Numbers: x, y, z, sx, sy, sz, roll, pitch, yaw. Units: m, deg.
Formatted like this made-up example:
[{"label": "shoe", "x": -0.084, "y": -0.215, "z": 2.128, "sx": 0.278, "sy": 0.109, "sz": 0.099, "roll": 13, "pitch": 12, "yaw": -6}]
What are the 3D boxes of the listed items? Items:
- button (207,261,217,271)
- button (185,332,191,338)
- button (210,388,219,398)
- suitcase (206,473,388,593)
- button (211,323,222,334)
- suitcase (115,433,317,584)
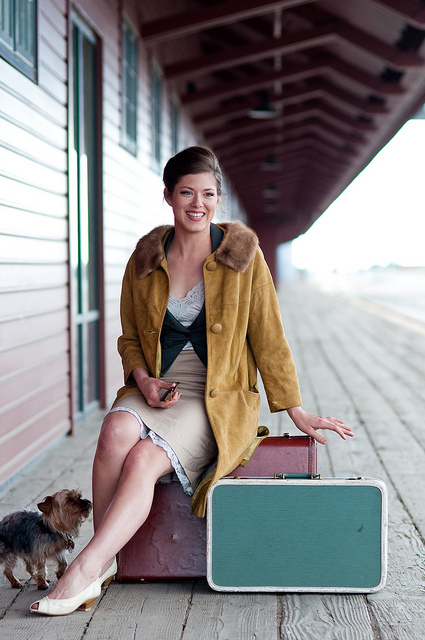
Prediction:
[{"label": "button", "x": -0.002, "y": -0.163, "z": 1.719, "sx": 0.031, "sy": 0.029, "sz": 0.007, "roll": 5, "pitch": -4, "yaw": -1}, {"label": "button", "x": -0.074, "y": 0.047, "z": 1.701, "sx": 0.015, "sy": 0.013, "sz": 0.004, "roll": 8, "pitch": 17, "yaw": 18}, {"label": "button", "x": 0.007, "y": 0.213, "z": 1.633, "sx": 0.006, "sy": 0.023, "sz": 0.024, "roll": 18, "pitch": 14, "yaw": 26}, {"label": "suitcase", "x": 0.231, "y": 0.577, "z": 1.550, "sx": 0.480, "sy": 0.301, "sz": 0.152, "roll": 0, "pitch": -6, "yaw": -3}, {"label": "button", "x": 0.015, "y": 0.027, "z": 1.649, "sx": 0.028, "sy": 0.029, "sz": 0.014, "roll": 0, "pitch": 1, "yaw": -1}, {"label": "suitcase", "x": -0.009, "y": 0.524, "z": 1.513, "sx": 0.471, "sy": 0.351, "sz": 0.164, "roll": 1, "pitch": 0, "yaw": 3}]
